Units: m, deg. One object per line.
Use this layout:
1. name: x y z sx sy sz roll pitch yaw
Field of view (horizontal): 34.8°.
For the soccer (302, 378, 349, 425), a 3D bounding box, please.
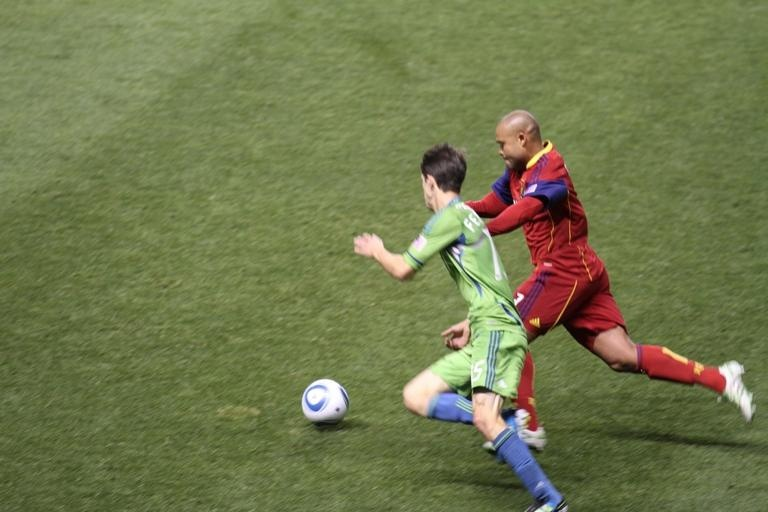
1. soccer: -0.432 1.076 8.925 0.347 0.338 0.293 -21 62 -4
